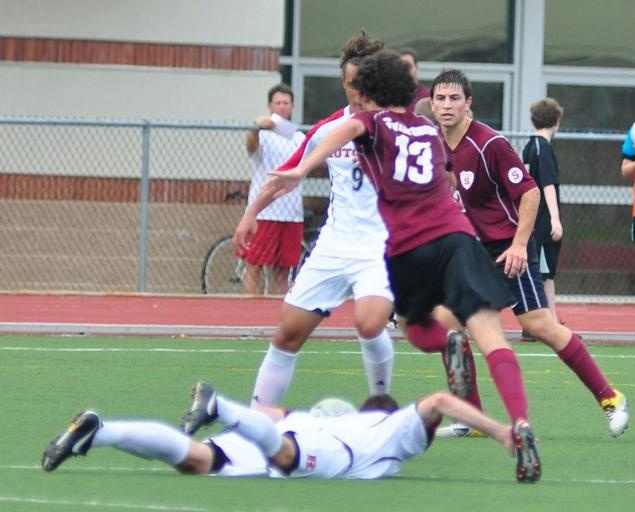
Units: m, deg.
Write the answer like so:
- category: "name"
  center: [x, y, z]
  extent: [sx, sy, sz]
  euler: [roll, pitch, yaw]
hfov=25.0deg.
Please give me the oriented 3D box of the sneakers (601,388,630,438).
- category: "sneakers"
  center: [2.274, 1.188, 10.983]
  extent: [0.183, 0.380, 0.133]
  euler: [20, -34, -24]

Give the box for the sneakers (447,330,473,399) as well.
- category: "sneakers"
  center: [1.059, 0.787, 10.575]
  extent: [0.168, 0.519, 0.232]
  euler: [-5, 12, 7]

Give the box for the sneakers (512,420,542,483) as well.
- category: "sneakers"
  center: [1.441, 1.364, 9.904]
  extent: [0.156, 0.447, 0.190]
  euler: [-4, 5, 3]
